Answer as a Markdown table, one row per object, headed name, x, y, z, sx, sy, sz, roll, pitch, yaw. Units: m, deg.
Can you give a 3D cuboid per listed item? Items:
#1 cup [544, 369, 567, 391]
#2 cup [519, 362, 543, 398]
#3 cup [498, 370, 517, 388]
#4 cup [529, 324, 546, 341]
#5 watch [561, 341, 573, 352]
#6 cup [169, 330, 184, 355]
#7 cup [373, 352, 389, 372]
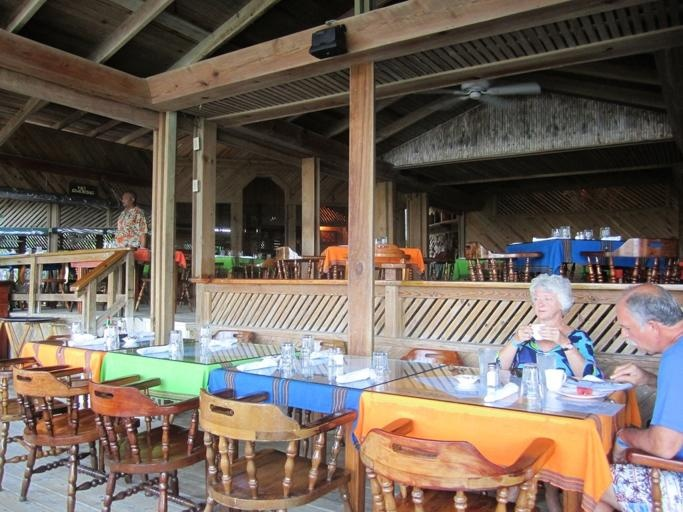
| name | x | y | z | sx | sy | sz | roll | pitch | yaw |
| --- | --- | --- | --- | --- | --- | --- | --- | --- | --- |
| cup | 1.091 | 0.641 | 2.729 | 0.140 | 0.085 | 0.104 | 3 | -7 | 24 |
| cup | 0.931 | 0.619 | 2.603 | 0.085 | 0.162 | 0.064 | -2 | -4 | 23 |
| cup | 0.897 | 0.671 | 2.896 | 0.116 | 0.094 | 0.106 | 2 | -7 | 0 |
| cup | 1.110 | 0.450 | 3.045 | 0.092 | 0.068 | 0.102 | -1 | -5 | -11 |
| watch | 1.332 | 0.541 | 3.142 | 0.078 | 0.040 | 0.059 | -15 | -19 | -3 |
| cup | -1.143 | 0.595 | 3.654 | 0.084 | 0.148 | 0.154 | 1 | -3 | -16 |
| cup | 0.222 | 0.626 | 3.138 | 0.091 | 0.106 | 0.135 | 0 | -3 | 3 |
